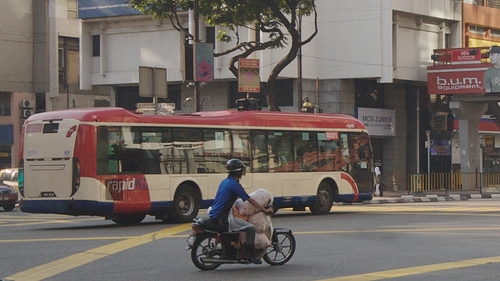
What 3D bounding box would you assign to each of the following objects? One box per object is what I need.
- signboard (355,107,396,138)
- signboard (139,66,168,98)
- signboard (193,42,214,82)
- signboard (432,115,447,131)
[{"bbox_3d":[10.413,-1.438,67.286,4.075,2.456,0.403,2,0,-24],"label":"signboard"},{"bbox_3d":[-6.123,-3.604,49.880,0.216,1.877,2.283,-3,-3,43],"label":"signboard"},{"bbox_3d":[-3.168,-5.104,52.647,0.306,3.112,2.688,-3,-5,34],"label":"signboard"},{"bbox_3d":[14.790,-1.412,62.699,1.061,1.087,1.070,1,1,15],"label":"signboard"}]
